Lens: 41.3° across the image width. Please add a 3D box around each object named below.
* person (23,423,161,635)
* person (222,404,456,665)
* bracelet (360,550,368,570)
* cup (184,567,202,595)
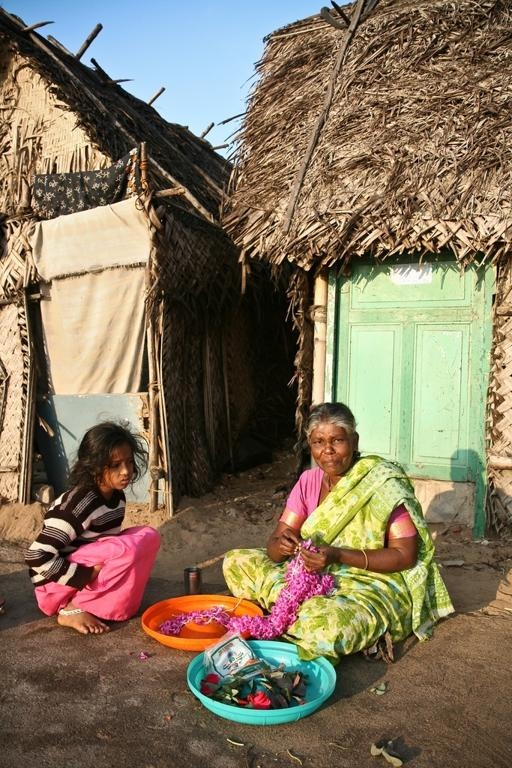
[{"bbox_3d":[-0.779,0.671,3.252,0.602,0.971,0.326,0,3,-9],"label":"person"},{"bbox_3d":[0.303,0.679,3.173,1.221,1.012,0.953,-1,4,39],"label":"person"},{"bbox_3d":[0.473,0.762,2.955,0.027,0.075,0.038,-3,4,-39],"label":"bracelet"},{"bbox_3d":[-0.327,1.012,3.474,0.080,0.128,0.155,0,3,-8],"label":"cup"}]
